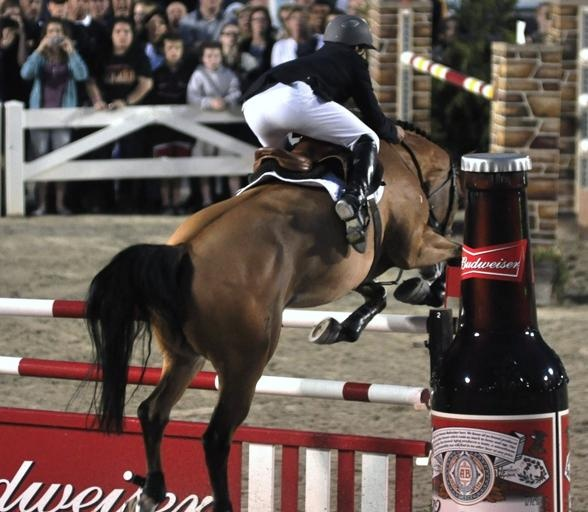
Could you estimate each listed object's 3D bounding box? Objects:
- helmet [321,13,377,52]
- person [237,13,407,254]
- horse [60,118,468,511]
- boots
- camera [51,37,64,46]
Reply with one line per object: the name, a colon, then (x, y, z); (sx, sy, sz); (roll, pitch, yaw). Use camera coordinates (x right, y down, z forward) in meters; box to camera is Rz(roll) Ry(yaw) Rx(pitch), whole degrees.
helmet: (0.296, -1.201, 8.503); (0.246, 0.131, 0.173); (-2, 14, -37)
person: (0.180, -0.645, 8.538); (0.703, 1.430, 1.016); (-5, -20, 23)
horse: (-0.110, 0.307, 8.075); (1.897, 1.751, 0.711); (-6, 12, -43)
boots: (0.292, -0.352, 8.059); (0.174, 0.247, 0.633); (-14, 39, 30)
camera: (-2.109, -1.934, 14.182); (0.120, 0.101, 0.034); (0, 9, -17)
